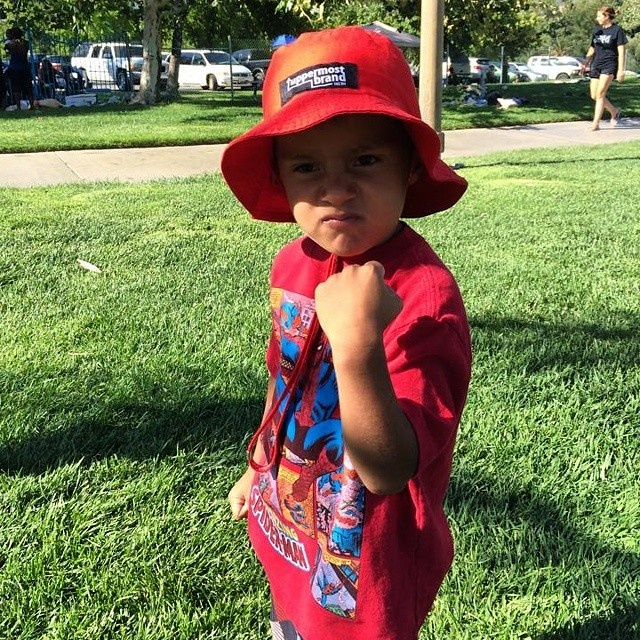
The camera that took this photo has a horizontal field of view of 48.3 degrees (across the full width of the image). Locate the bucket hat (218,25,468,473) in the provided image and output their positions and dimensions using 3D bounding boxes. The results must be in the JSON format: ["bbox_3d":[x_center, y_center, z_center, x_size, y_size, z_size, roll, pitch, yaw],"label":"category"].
[{"bbox_3d":[0.078,-0.187,1.630,0.589,0.499,0.808,-2,5,10],"label":"bucket hat"}]

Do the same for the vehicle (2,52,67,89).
[{"bbox_3d":[-9.127,-8.445,24.217,1.297,1.249,5.242,-5,18,-18],"label":"vehicle"}]

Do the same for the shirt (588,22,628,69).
[{"bbox_3d":[5.374,-5.068,13.422,0.556,0.864,0.624,-14,21,-42],"label":"shirt"}]
